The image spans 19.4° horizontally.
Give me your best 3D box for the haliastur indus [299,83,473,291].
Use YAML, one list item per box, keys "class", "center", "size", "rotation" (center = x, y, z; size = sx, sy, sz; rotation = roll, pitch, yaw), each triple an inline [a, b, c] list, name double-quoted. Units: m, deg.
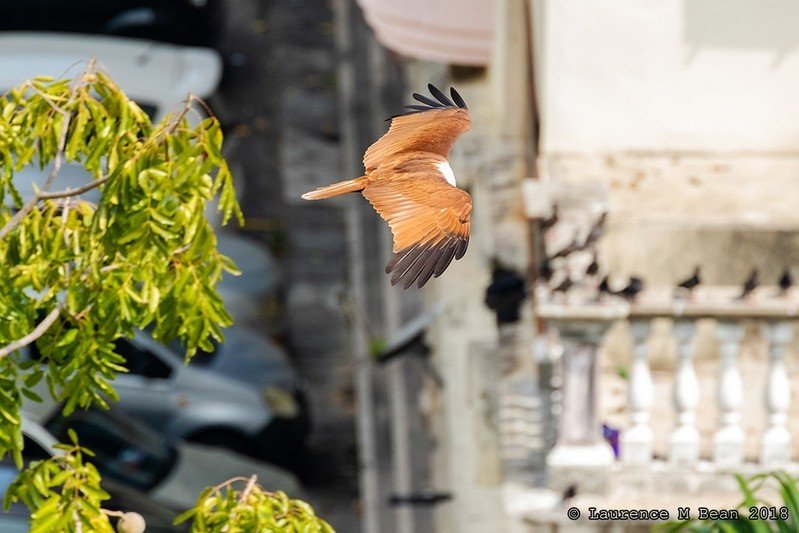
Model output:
- class: "haliastur indus"
  center: [0.052, -0.415, 12.230]
  size: [1.055, 1.390, 0.543]
  rotation: [3, -22, -4]
